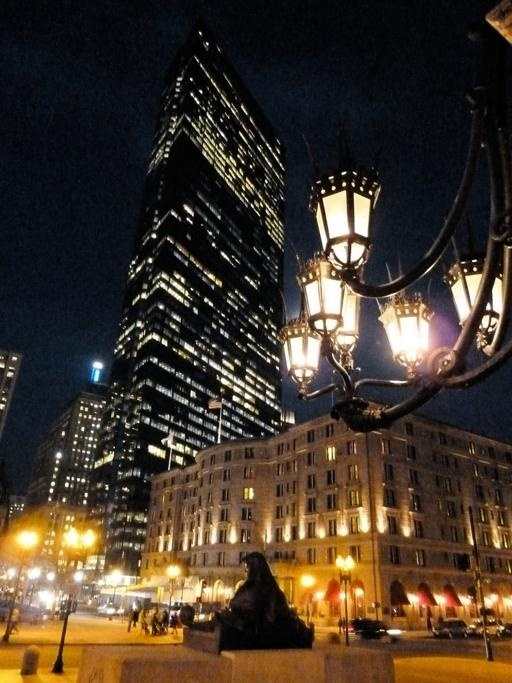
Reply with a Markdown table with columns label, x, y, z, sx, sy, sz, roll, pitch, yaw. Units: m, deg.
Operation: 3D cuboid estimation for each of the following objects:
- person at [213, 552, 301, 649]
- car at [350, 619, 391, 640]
| label | x | y | z | sx | sy | sz | roll | pitch | yaw |
| --- | --- | --- | --- | --- | --- | --- | --- | --- | --- |
| person | 0.061 | 4.416 | 8.127 | 0.973 | 1.606 | 1.122 | -1 | -43 | 2 |
| car | 8.169 | 20.930 | 35.560 | 2.198 | 1.338 | 1.402 | -4 | -36 | -2 |
